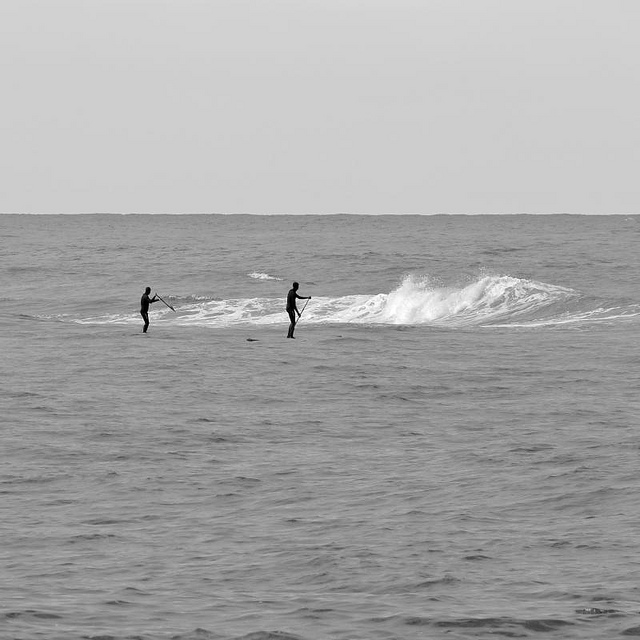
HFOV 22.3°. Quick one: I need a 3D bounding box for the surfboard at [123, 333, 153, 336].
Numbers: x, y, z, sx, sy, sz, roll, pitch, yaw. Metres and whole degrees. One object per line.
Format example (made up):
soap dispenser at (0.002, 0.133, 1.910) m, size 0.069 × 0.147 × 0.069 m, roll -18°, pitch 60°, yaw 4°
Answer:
surfboard at (-4.166, 0.330, 36.670) m, size 0.542 × 0.051 × 0.632 m, roll 0°, pitch 0°, yaw 7°
